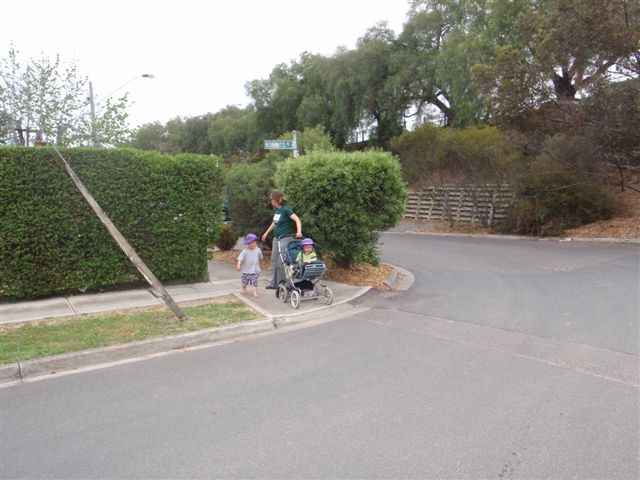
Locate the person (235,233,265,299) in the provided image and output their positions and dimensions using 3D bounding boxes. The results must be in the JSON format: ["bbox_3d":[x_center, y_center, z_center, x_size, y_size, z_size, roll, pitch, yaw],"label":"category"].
[{"bbox_3d":[-1.532,0.482,11.022,0.488,1.400,1.736,-2,13,-7],"label":"person"}]

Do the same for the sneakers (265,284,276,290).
[{"bbox_3d":[-1.101,1.054,11.240,0.299,0.141,0.129,-8,-9,43],"label":"sneakers"}]

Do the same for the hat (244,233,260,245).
[{"bbox_3d":[-1.470,-0.054,10.770,0.215,0.245,0.433,-1,13,0],"label":"hat"}]

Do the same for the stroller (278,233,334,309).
[{"bbox_3d":[-0.317,0.610,10.043,0.767,1.370,1.034,0,3,-28],"label":"stroller"}]
